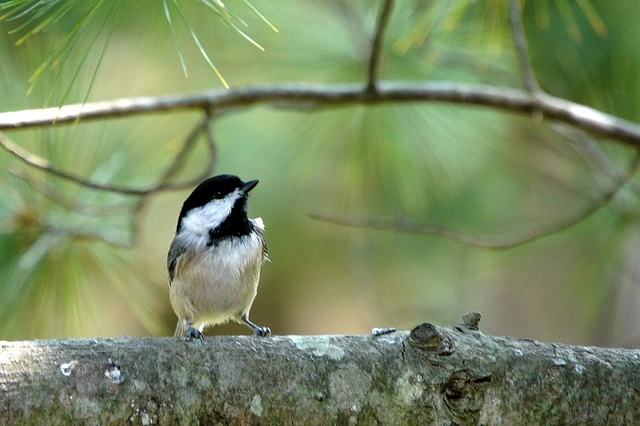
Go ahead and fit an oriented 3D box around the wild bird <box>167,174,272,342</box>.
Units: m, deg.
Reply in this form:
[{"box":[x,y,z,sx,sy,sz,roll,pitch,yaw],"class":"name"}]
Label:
[{"box":[-0.732,0.278,4.873,0.579,1.070,1.057,-2,4,-30],"class":"wild bird"}]
